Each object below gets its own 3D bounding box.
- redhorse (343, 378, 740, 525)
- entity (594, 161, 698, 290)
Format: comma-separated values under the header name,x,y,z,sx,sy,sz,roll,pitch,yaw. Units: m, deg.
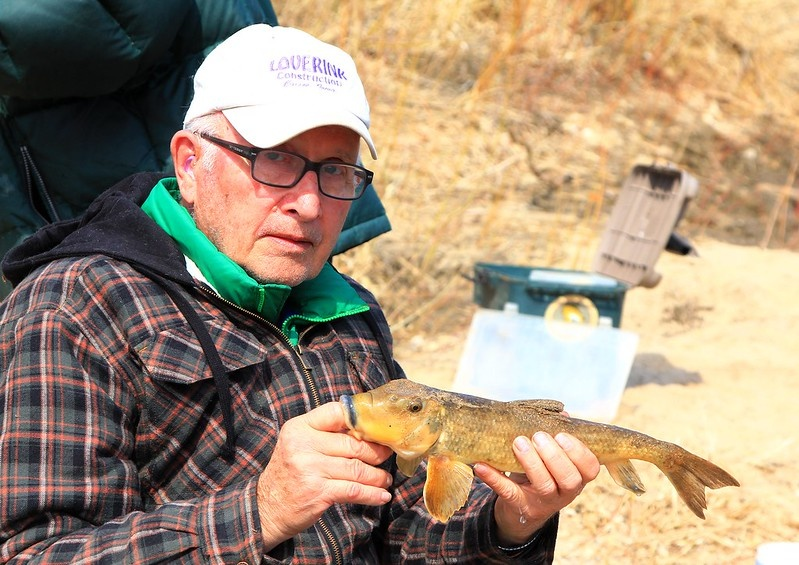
name,x,y,z,sx,sy,sz,roll,pitch,yaw
redhorse,0.512,0.785,3.755,1.613,0.533,0.266,8,18,-11
entity,1.759,-0.357,5.990,0.548,0.977,0.332,23,5,30
